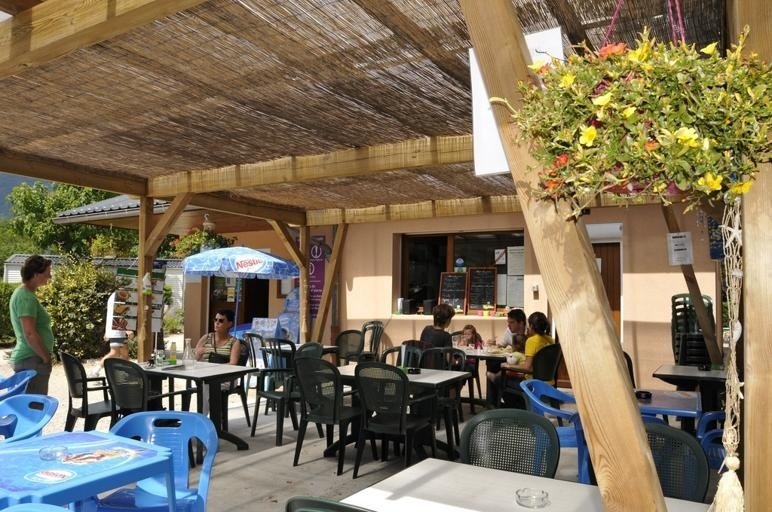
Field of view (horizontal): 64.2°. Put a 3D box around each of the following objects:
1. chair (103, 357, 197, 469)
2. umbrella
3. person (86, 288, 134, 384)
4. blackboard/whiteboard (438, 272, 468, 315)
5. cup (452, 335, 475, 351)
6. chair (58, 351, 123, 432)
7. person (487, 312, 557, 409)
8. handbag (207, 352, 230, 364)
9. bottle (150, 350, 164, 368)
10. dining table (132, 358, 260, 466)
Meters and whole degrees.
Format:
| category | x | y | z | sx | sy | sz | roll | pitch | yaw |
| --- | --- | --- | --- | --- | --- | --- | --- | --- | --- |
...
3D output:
| category | x | y | z | sx | sy | sz | roll | pitch | yaw |
| --- | --- | --- | --- | --- | --- | --- | --- | --- | --- |
| chair | -2.440 | 1.425 | 6.215 | 0.771 | 0.911 | 0.775 | 2 | 7 | 32 |
| umbrella | -2.046 | 0.273 | 9.927 | 1.793 | 1.023 | 1.659 | 8 | 8 | -7 |
| person | -3.667 | 1.074 | 8.256 | 0.667 | 1.173 | 0.331 | 0 | 1 | -23 |
| blackboard/whiteboard | 1.145 | 0.631 | 10.279 | 0.769 | 0.896 | 0.103 | -4 | -22 | 25 |
| cup | 1.097 | 1.230 | 8.725 | 0.260 | 0.105 | 0.340 | 2 | -3 | -5 |
| chair | -2.975 | 1.460 | 6.297 | 0.705 | 0.875 | 0.635 | 0 | 2 | -42 |
| person | 1.634 | 1.318 | 7.303 | 0.760 | 1.259 | 0.596 | 2 | 8 | 43 |
| handbag | -2.068 | 1.229 | 7.503 | 0.196 | 0.136 | 0.139 | -2 | 5 | -24 |
| bottle | -2.619 | 1.130 | 6.774 | 0.191 | 0.208 | 0.174 | -1 | -10 | -1 |
| dining table | -2.120 | 1.613 | 6.450 | 1.016 | 0.837 | 1.838 | 1 | -10 | 6 |
